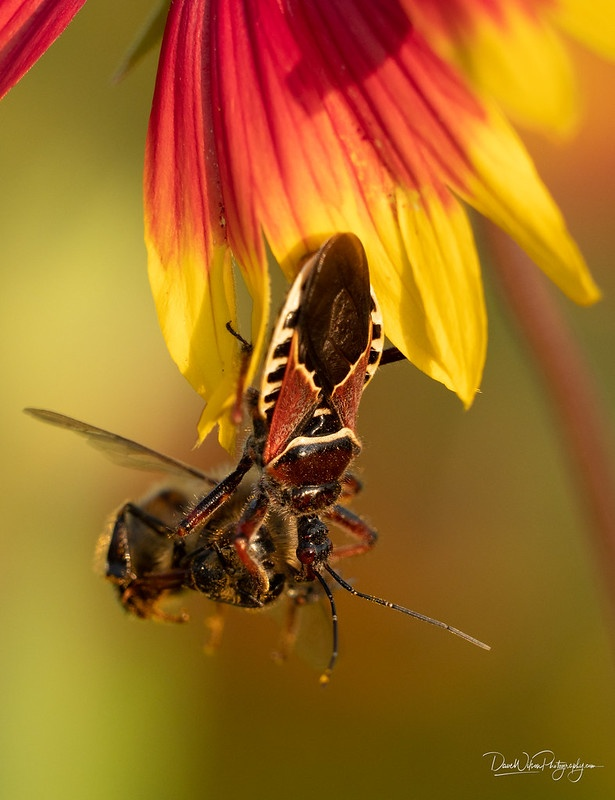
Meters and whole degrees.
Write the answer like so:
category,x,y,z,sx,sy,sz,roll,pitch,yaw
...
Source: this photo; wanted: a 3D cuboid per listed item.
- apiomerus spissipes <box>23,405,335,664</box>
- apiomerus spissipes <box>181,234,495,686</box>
category,x,y,z,sx,sy,sz,roll,pitch,yaw
apiomerus spissipes,-0.118,0.094,0.972,0.307,0.120,0.305,35,-7,-42
apiomerus spissipes,0.023,0.039,0.611,0.227,0.079,0.278,-4,-52,-12
